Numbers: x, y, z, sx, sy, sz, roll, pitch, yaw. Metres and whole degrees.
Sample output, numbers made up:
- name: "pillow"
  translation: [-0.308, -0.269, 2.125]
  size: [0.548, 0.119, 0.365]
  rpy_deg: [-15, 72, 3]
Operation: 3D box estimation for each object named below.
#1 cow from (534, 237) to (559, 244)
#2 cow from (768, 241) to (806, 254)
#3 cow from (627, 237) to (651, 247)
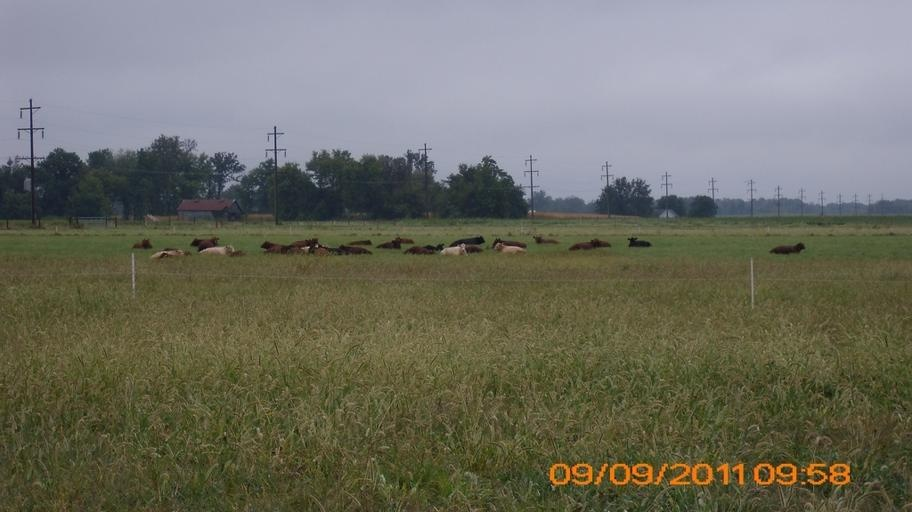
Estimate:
- name: "cow"
  translation: [7.482, -1.303, 91.716]
  size: [1.714, 0.749, 0.725]
  rpy_deg: [2, -7, -1]
- name: "cow"
  translation: [23.628, -0.564, 80.149]
  size: [2.442, 0.734, 2.077]
  rpy_deg: [1, 3, 8]
- name: "cow"
  translation: [14.286, -1.193, 88.387]
  size: [1.889, 0.853, 0.886]
  rpy_deg: [5, 1, 16]
